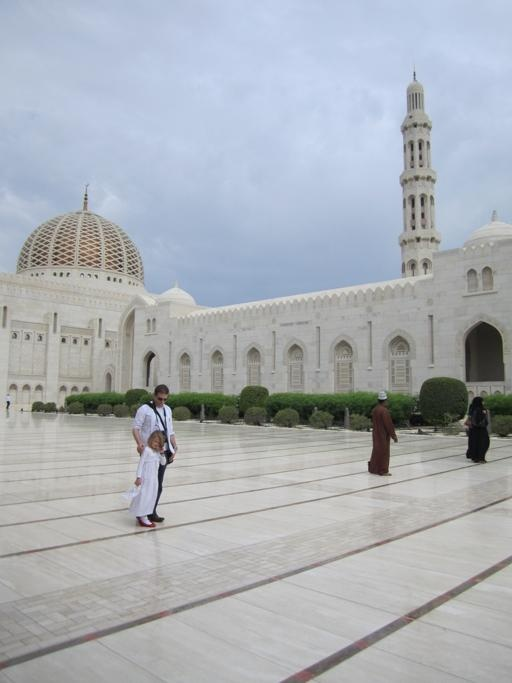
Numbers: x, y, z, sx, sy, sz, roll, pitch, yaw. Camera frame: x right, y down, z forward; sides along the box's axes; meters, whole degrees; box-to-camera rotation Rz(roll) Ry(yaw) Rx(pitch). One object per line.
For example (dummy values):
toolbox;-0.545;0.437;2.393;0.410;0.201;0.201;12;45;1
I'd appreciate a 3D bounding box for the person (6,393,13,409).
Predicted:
person;-13.273;3.189;32.951;0.375;0.821;1.884;2;-5;-22

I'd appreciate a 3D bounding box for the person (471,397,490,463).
person;3.536;1.387;9.747;0.248;1.014;0.611;-2;-5;19

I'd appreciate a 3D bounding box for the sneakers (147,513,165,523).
sneakers;-0.820;1.452;5.050;0.145;0.054;0.051;0;-3;26

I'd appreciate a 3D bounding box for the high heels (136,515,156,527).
high heels;-0.885;1.440;4.901;0.065;0.073;0.191;10;-14;-43

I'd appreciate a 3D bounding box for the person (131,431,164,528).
person;-0.887;1.109;4.992;0.232;0.727;0.334;1;-5;-8
